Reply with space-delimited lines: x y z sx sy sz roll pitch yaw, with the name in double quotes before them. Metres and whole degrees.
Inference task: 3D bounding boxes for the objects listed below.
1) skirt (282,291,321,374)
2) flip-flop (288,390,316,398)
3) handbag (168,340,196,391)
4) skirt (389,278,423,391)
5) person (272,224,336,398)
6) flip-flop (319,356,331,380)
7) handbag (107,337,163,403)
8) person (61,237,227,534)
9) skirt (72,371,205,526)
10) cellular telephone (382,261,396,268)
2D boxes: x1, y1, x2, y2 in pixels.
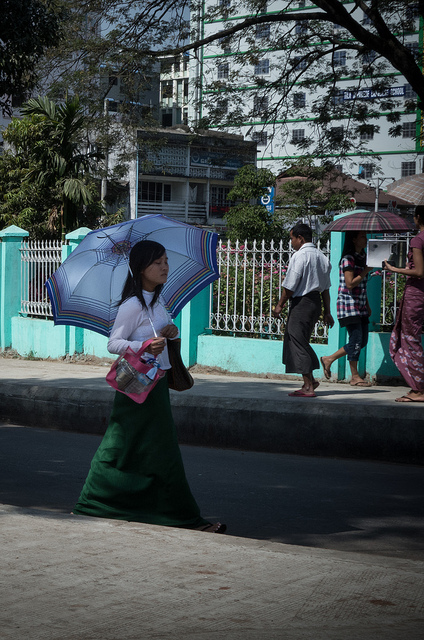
"skirt" 0.890 0.118 7.737 0.335 0.818 0.224 1 -2 5
"flip-flop" 0.897 0.733 7.786 0.203 0.051 0.078 2 -3 14
"handbag" -0.210 0.284 4.363 0.134 0.278 0.229 1 -23 -9
"skirt" 1.868 0.136 7.505 0.311 1.069 0.288 1 -2 13
"person" 0.982 -0.084 8.344 0.610 1.738 1.586 1 -2 8
"flip-flop" 1.317 0.555 9.230 0.066 0.241 0.089 -20 12 3
"handbag" -0.345 0.195 4.013 0.274 0.347 0.205 24 33 27
"person" -0.433 0.326 4.463 0.711 1.649 1.104 2 -2 -20
"skirt" -0.352 0.697 4.451 0.821 1.112 0.541 2 6 1
"cellular telephone" 1.871 -0.604 8.249 0.111 0.069 0.111 5 8 32
